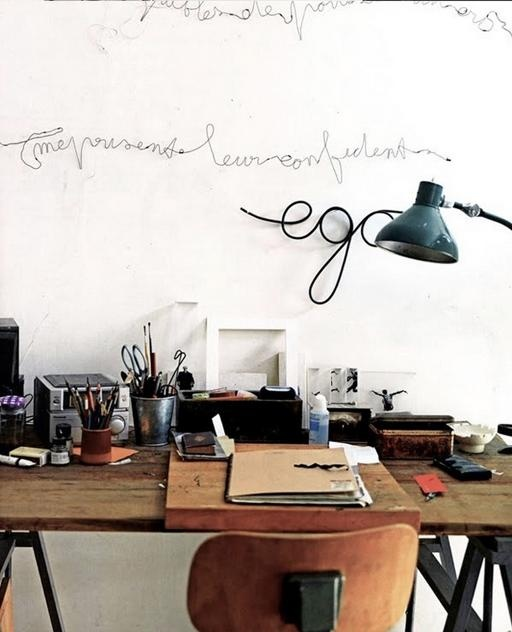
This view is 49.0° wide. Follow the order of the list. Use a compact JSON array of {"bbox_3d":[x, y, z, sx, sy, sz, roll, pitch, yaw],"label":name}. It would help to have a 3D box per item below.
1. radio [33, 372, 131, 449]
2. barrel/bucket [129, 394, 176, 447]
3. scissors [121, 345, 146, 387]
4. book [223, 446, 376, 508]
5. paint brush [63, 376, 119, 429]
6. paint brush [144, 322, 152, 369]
[{"bbox_3d":[-0.449,0.229,1.433,0.220,0.141,0.273,2,3,-39],"label":"radio"},{"bbox_3d":[-0.244,0.254,1.393,0.110,0.112,0.111,1,-4,0],"label":"barrel/bucket"},{"bbox_3d":[-0.328,0.125,1.505,0.061,0.019,0.158,-4,-34,-6],"label":"scissors"},{"bbox_3d":[0.063,0.274,1.065,0.348,0.041,0.415,1,1,0],"label":"book"},{"bbox_3d":[-0.371,0.201,1.285,0.115,0.102,0.199,0,1,-15],"label":"paint brush"},{"bbox_3d":[-0.294,0.077,1.533,0.014,0.130,0.014,-3,-7,-6],"label":"paint brush"}]
